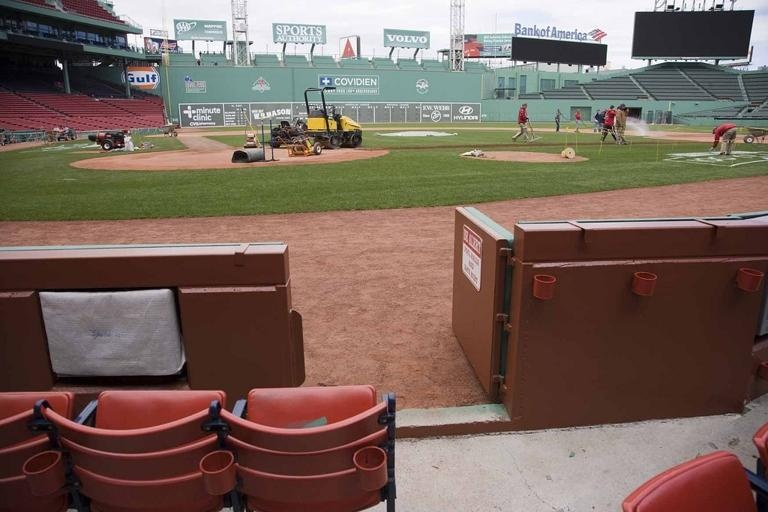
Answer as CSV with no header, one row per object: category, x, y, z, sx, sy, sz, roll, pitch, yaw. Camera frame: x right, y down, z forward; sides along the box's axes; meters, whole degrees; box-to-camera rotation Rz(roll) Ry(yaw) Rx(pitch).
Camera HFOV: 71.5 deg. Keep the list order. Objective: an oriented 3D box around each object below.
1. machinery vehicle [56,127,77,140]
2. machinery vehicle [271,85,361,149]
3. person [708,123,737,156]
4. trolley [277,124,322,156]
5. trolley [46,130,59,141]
machinery vehicle,-19.956,-7.548,33.758,0.576,0.622,1.582,-1,14,4
machinery vehicle,-3.066,-6.078,24.215,4.958,2.420,1.613,-11,21,-38
person,12.671,-4.281,19.893,0.608,1.154,1.509,6,17,28
trolley,-3.648,-4.797,22.624,1.391,1.121,2.369,3,19,5
trolley,-20.446,-7.348,33.048,0.750,0.395,0.970,-6,14,-33
